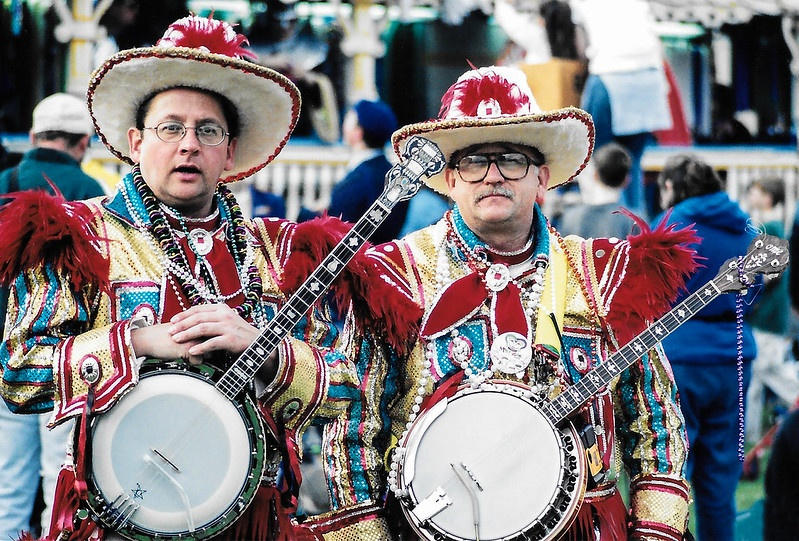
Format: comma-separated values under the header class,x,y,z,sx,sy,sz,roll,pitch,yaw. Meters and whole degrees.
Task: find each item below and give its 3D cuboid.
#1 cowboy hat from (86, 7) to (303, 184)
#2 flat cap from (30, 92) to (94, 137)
class,x,y,z,sx,sy,sz,roll,pitch,yaw
cowboy hat,-1.154,-1.015,10.078,1.064,0.963,0.460,30,27,-35
flat cap,-2.340,-1.037,11.959,0.349,0.265,0.503,1,4,-5
